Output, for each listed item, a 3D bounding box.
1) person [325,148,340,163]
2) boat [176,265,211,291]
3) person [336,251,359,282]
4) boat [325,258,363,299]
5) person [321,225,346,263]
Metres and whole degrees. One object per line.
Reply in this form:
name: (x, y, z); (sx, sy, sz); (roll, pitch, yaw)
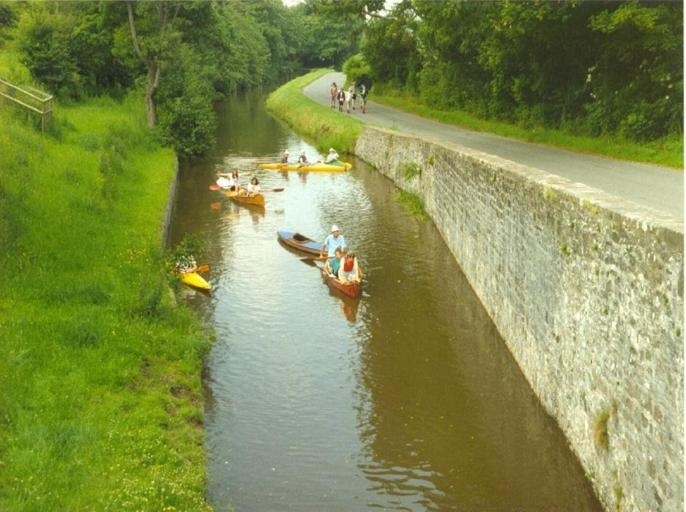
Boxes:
person: (-0.674, -6.975, 51.243); (0.838, 0.664, 1.382); (0, 41, -1)
boat: (-5.564, 0.945, 28.895); (1.455, 0.517, 1.298); (30, 28, 33)
person: (0.281, 0.461, 28.496); (0.754, 1.742, 0.957); (-4, 9, -4)
boat: (-0.073, 0.957, 28.740); (0.620, 1.077, 2.287); (-8, 31, -39)
person: (-0.374, -0.486, 31.483); (1.082, 2.609, 0.811); (-2, 17, -9)
